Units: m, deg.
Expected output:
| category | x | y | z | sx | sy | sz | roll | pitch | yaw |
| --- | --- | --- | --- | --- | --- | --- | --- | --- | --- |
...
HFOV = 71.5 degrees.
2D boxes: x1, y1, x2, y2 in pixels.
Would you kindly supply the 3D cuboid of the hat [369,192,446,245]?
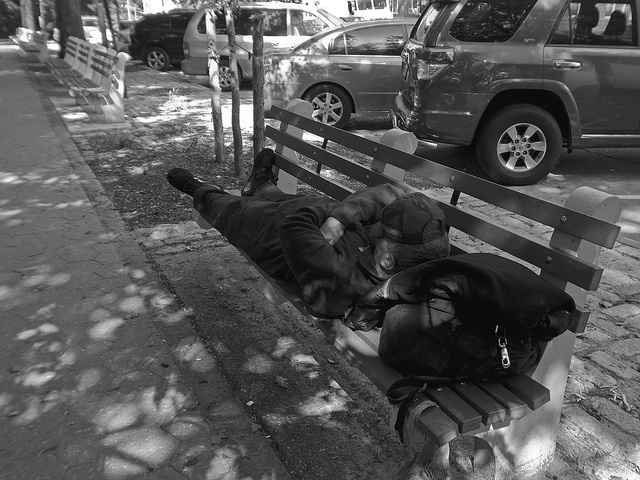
| category | x | y | z | sx | sy | sz | roll | pitch | yaw |
| --- | --- | --- | --- | --- | --- | --- | --- | --- | --- |
| hat | 0.499 | -0.139 | 2.402 | 0.351 | 0.232 | 0.460 | -15 | 15 | -21 |
